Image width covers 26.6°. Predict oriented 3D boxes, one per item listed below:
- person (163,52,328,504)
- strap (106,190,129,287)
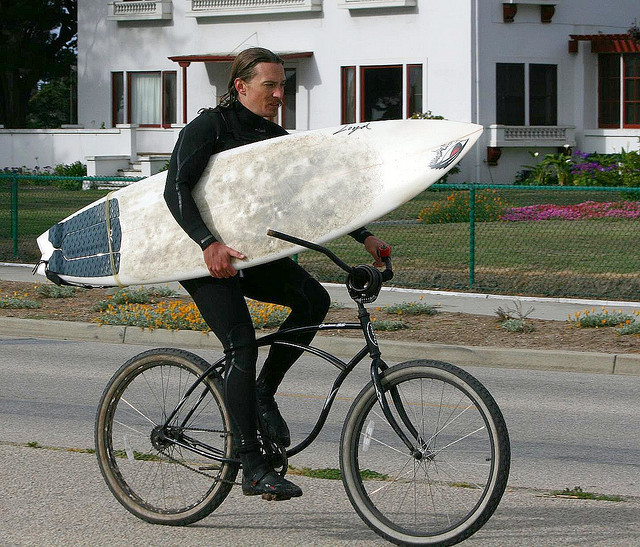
[{"bbox_3d":[-0.468,0.068,8.554,1.024,2.931,0.780,3,4,5],"label":"person"},{"bbox_3d":[-1.298,-0.224,8.681,0.053,0.655,0.162,-16,19,-35],"label":"strap"}]
